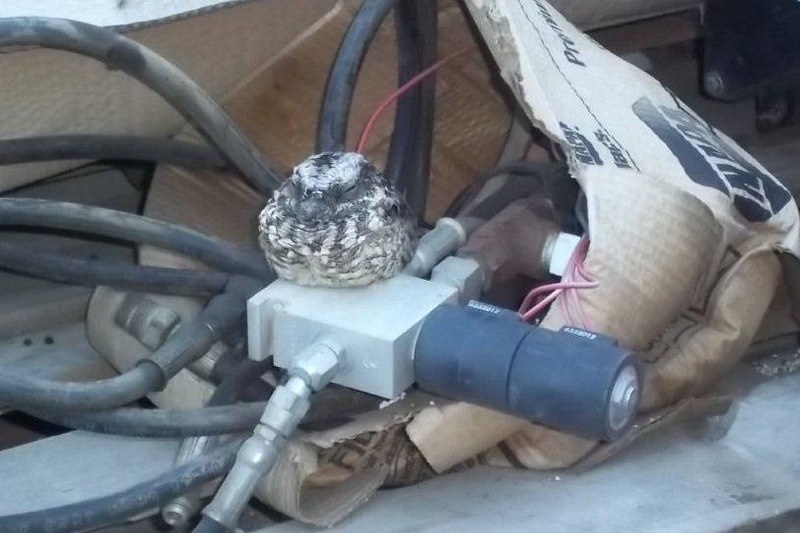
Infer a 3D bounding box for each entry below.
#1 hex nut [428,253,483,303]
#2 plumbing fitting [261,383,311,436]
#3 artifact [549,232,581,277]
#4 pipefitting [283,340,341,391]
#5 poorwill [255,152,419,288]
[{"bbox_3d":[0.087,0.012,1.228,0.059,0.065,0.081,12,26,37],"label":"hex nut"},{"bbox_3d":[-0.145,0.184,1.064,0.042,0.031,0.055,28,60,12],"label":"plumbing fitting"},{"bbox_3d":[0.244,-0.021,1.260,0.014,0.057,0.055,11,9,-41],"label":"artifact"},{"bbox_3d":[-0.109,0.125,1.088,0.044,0.044,0.081,28,38,25],"label":"pipefitting"},{"bbox_3d":[-0.093,-0.061,1.127,0.194,0.130,0.193,4,34,8],"label":"poorwill"}]
